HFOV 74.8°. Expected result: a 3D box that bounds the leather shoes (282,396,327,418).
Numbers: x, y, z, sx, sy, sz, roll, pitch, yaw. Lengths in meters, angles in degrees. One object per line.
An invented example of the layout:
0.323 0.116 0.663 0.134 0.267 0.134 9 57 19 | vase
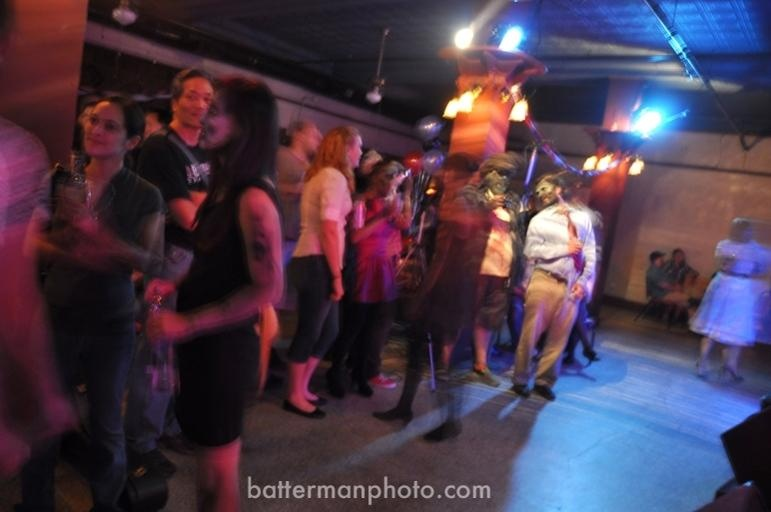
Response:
-0.612 1.157 3.858 0.336 0.118 0.124 7 1 -4 | leather shoes

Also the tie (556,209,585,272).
1.704 -0.123 4.697 0.178 0.628 0.173 -10 -9 17 | tie

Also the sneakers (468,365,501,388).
0.962 1.170 4.908 0.285 0.114 0.145 9 16 29 | sneakers

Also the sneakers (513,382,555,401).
1.399 1.296 4.761 0.456 0.194 0.160 -2 26 4 | sneakers

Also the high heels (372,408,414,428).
0.074 1.238 3.951 0.344 0.137 0.114 12 2 2 | high heels
